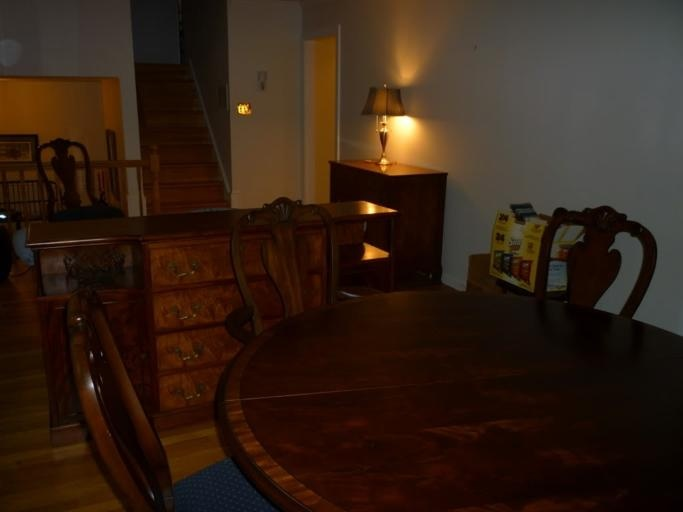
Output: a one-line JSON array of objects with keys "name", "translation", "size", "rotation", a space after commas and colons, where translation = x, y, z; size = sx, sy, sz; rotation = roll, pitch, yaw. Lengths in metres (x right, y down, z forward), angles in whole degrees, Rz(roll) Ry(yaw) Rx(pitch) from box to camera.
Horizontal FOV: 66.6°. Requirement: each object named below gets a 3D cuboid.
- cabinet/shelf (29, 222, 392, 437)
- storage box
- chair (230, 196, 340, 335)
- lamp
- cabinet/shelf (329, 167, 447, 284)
[{"name": "cabinet/shelf", "translation": [-0.589, 0.288, 2.142], "size": [0.868, 0.560, 0.259], "rotation": [-9, 17, -28]}, {"name": "storage box", "translation": [1.209, -0.017, 3.274], "size": [0.275, 0.440, 0.542], "rotation": [4, 9, -12]}, {"name": "chair", "translation": [-0.270, 0.060, 2.435], "size": [0.383, 0.619, 0.394], "rotation": [-12, 33, -21]}, {"name": "lamp", "translation": [0.413, -1.254, 5.066], "size": [0.370, 0.685, 0.393], "rotation": [0, 13, -1]}, {"name": "cabinet/shelf", "translation": [0.415, -0.208, 3.905], "size": [0.279, 0.783, 0.772], "rotation": [-6, 18, -21]}]
